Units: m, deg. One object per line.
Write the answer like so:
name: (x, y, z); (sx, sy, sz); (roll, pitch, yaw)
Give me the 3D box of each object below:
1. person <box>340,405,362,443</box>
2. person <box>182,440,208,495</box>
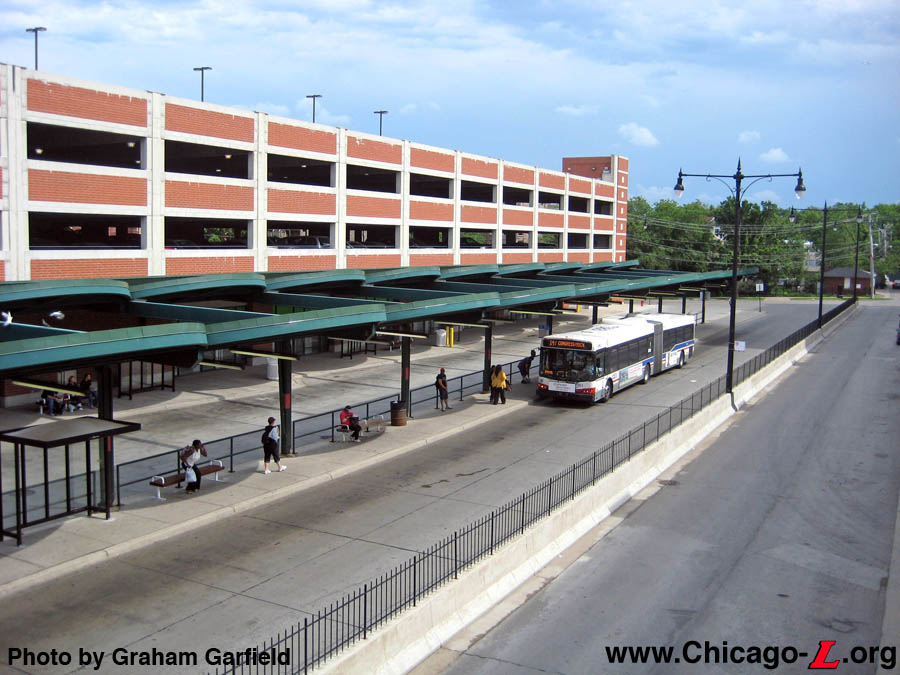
person: (-3.919, 3.315, 31.485); (0.736, 1.358, 1.038); (2, 10, -4)
person: (-8.051, 3.974, 25.135); (0.591, 1.741, 0.687); (-1, 12, -17)
